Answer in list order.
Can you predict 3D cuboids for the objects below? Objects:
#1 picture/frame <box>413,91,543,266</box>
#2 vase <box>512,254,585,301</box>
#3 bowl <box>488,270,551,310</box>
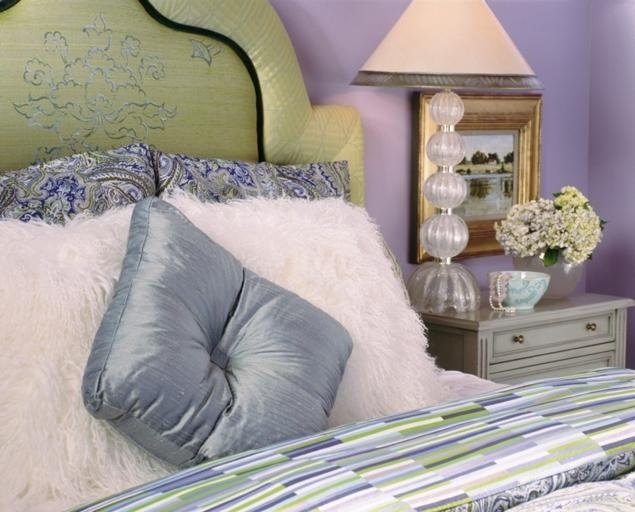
[{"bbox_3d":[0.687,-0.345,2.718,0.837,0.770,0.062,-4,6,-40],"label":"picture/frame"},{"bbox_3d":[0.990,0.080,2.702,0.214,0.162,0.212,0,1,-4],"label":"vase"},{"bbox_3d":[0.797,0.152,2.455,0.234,0.118,0.232,-1,-2,0],"label":"bowl"}]
